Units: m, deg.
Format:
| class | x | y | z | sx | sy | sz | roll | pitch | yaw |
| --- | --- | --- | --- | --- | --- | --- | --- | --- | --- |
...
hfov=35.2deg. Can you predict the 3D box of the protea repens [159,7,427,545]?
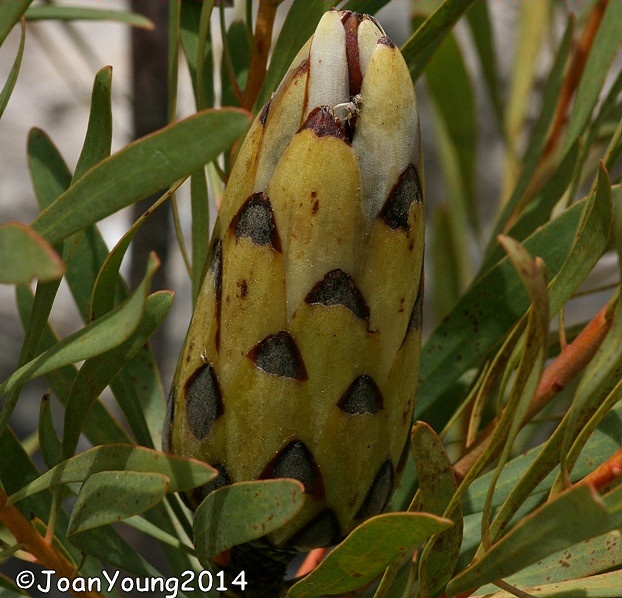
| class | x | y | z | sx | sy | sz | roll | pitch | yaw |
| --- | --- | --- | --- | --- | --- | --- | --- | --- | --- |
| protea repens | -0.004 | -0.001 | 0.491 | 0.127 | 0.225 | 0.128 | 4 | 37 | -10 |
